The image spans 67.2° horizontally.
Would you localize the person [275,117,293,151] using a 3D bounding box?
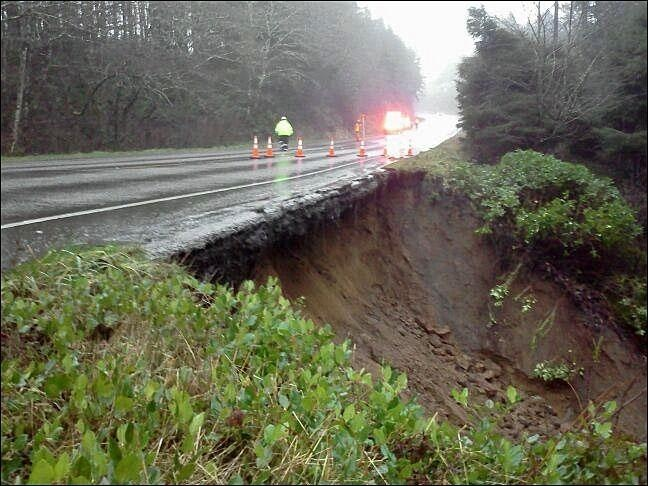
[{"bbox_3d":[-1.725,-4.746,20.812,0.672,1.536,0.437,-1,-11,0],"label":"person"}]
